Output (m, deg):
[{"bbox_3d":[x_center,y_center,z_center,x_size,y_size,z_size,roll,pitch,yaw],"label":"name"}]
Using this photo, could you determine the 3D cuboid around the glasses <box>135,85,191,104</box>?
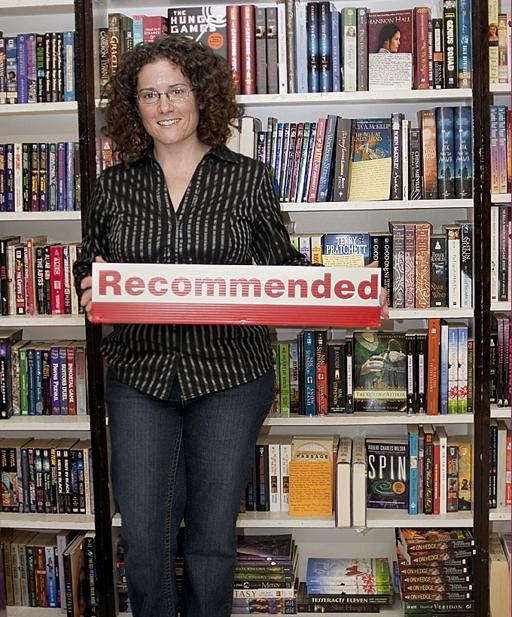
[{"bbox_3d":[-0.202,-0.467,1.665,0.113,0.040,0.033,-2,3,-2],"label":"glasses"}]
